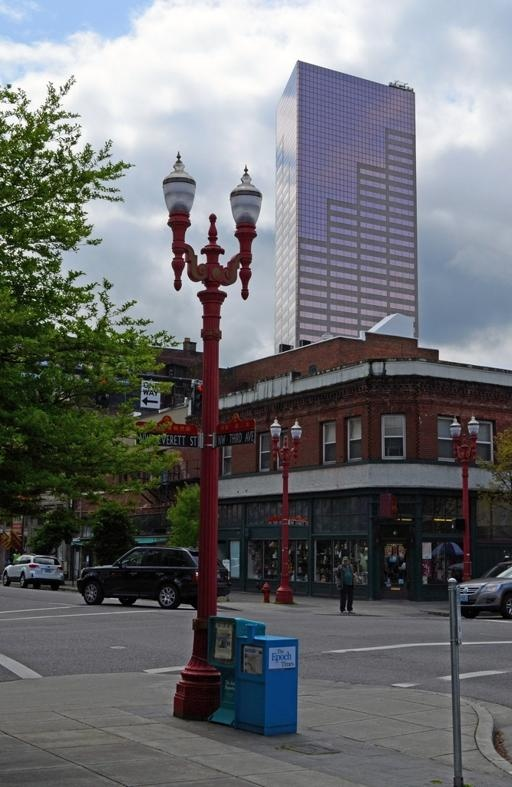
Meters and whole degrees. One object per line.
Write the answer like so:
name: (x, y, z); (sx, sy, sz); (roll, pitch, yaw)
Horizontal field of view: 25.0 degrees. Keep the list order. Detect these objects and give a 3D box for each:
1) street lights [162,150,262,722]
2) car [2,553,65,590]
street lights: (-0.475, 0.337, 11.373); (0.952, 5.521, 0.778); (7, -10, -40)
car: (-8.604, 6.924, 44.674); (1.243, 0.931, 2.663); (7, -9, -32)
